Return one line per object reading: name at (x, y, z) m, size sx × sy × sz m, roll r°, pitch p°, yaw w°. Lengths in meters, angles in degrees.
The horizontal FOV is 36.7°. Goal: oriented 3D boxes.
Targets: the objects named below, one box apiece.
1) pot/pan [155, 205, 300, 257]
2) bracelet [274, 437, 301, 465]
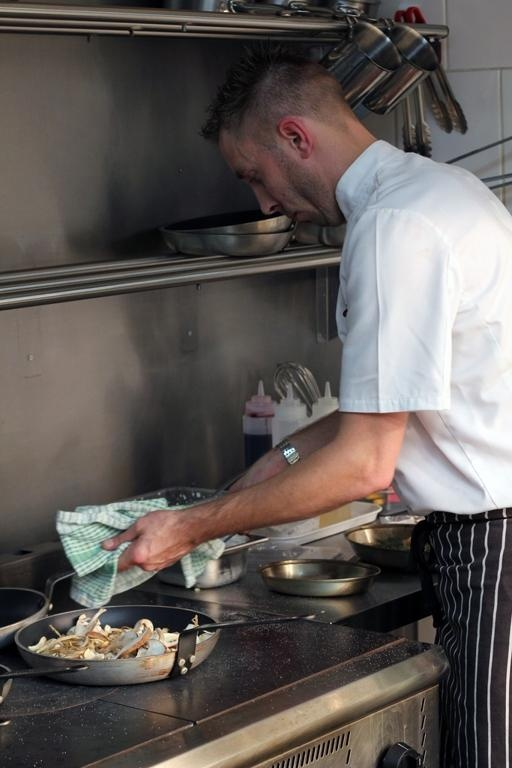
pot/pan at (-0.062, -0.268, 1.426) m, size 0.194 × 0.070 × 0.170 m, roll -9°, pitch 4°, yaw 19°
bracelet at (0.052, 0.107, 1.231) m, size 0.029 × 0.040 × 0.042 m, roll -29°, pitch 15°, yaw -16°
